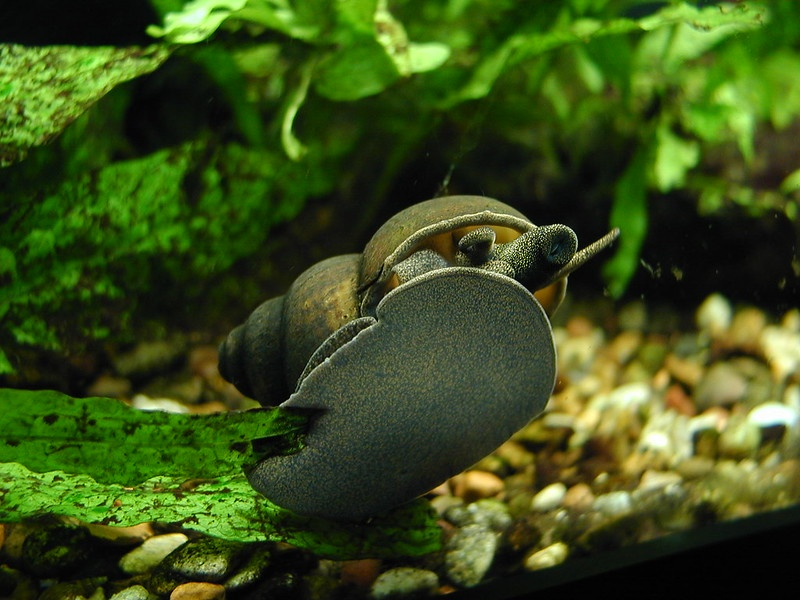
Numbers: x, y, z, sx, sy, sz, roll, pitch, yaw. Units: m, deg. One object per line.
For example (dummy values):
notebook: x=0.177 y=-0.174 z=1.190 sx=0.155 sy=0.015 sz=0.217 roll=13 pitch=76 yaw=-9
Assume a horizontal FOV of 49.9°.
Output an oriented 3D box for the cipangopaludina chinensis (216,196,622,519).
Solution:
cipangopaludina chinensis: x=-0.032 y=0.131 z=1.107 sx=0.528 sy=0.203 sz=0.331 roll=-13 pitch=26 yaw=33
